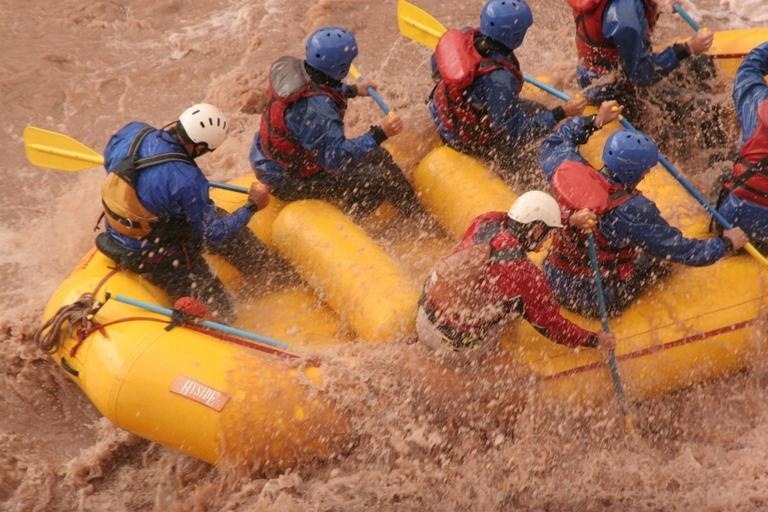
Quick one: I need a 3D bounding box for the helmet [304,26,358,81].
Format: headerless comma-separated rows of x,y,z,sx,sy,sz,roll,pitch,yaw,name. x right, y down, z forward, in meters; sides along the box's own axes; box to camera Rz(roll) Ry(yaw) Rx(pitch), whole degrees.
-0.481,-1.894,8.730,0.512,0.397,0.370,5,65,-16,helmet

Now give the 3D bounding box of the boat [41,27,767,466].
0.219,0.496,8.566,5.932,1.204,3.027,-19,50,-9,boat

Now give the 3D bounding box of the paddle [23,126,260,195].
-2.248,-0.881,9.026,2.115,0.306,0.089,19,31,10,paddle

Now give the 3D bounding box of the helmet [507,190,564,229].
1.255,-0.393,7.895,0.381,0.192,0.262,-5,25,-21,helmet

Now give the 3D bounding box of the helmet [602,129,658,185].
2.046,-0.826,8.155,0.505,0.393,0.374,-1,48,-25,helmet

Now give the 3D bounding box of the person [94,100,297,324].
-1.676,-0.308,8.691,1.490,1.572,0.866,-32,69,-25,person
